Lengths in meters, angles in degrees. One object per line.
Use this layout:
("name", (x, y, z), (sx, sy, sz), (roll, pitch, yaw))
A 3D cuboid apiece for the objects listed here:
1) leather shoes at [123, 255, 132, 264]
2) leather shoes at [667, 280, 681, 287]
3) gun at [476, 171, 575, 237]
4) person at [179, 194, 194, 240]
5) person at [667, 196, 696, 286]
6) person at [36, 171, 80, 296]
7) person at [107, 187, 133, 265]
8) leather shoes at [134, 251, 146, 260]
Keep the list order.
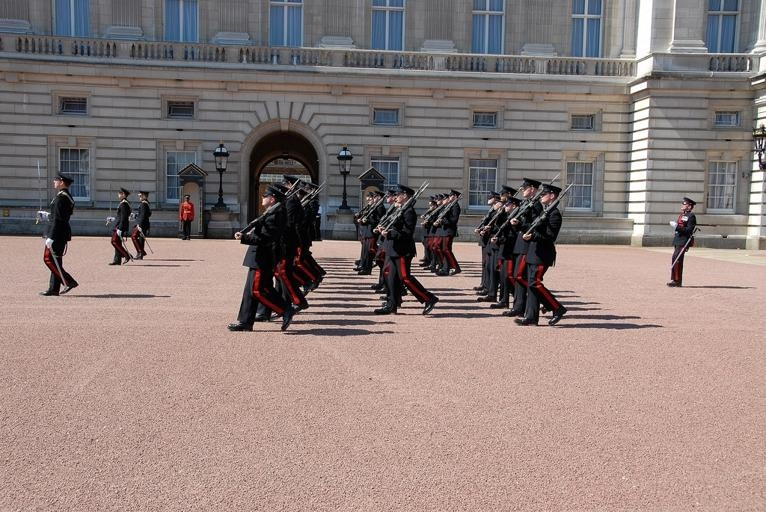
("leather shoes", (-7.722, 0.087, 33.333), (0.227, 0.172, 0.535), (-9, -9, -17))
("leather shoes", (8.149, 0.751, 30.975), (0.401, 0.268, 0.141), (6, 7, 26))
("gun", (4.191, -1.614, 33.007), (3.499, 0.372, 0.862), (-44, 31, -10))
("person", (-7.558, -1.517, 42.443), (0.518, 1.645, 0.847), (-1, 9, -10))
("person", (8.490, -0.431, 31.418), (1.016, 2.821, 0.705), (-2, -3, 8))
("person", (-8.494, -0.530, 28.604), (1.030, 3.142, 1.178), (2, 0, -29))
("person", (-7.959, -0.912, 33.586), (0.754, 2.297, 0.845), (1, -2, -15))
("leather shoes", (-7.561, -0.018, 34.381), (0.450, 0.182, 0.162), (2, -8, -5))
